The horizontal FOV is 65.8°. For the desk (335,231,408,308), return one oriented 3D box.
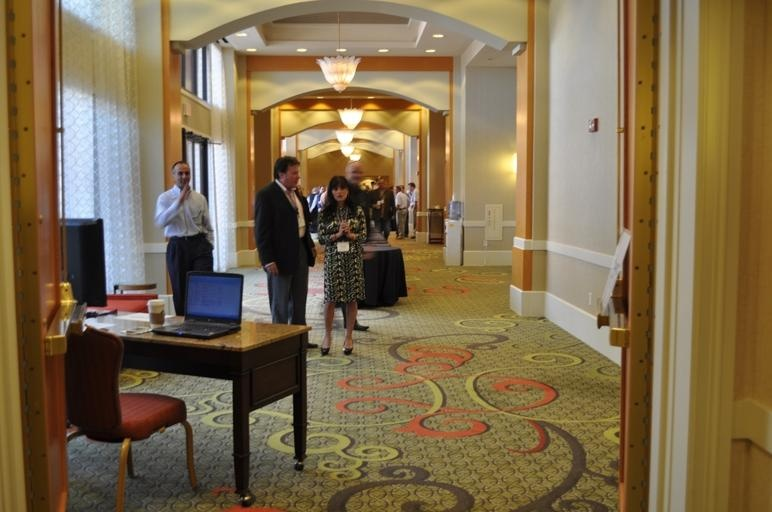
[{"bbox_3d":[-0.099,0.268,9.154,0.865,0.812,0.904,-1,7,-1],"label":"desk"}]

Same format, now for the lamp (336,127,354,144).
[{"bbox_3d":[-1.588,-4.600,22.944,0.754,0.558,0.746,-1,0,-1],"label":"lamp"}]

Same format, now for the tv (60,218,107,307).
[{"bbox_3d":[-2.304,0.062,4.589,0.259,0.664,0.185,-5,8,-30],"label":"tv"}]

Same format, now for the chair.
[{"bbox_3d":[-1.522,0.908,3.534,0.424,1.087,0.592,6,9,40],"label":"chair"}]

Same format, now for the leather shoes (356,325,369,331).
[{"bbox_3d":[-0.296,0.897,7.460,0.188,0.081,0.064,-2,5,2],"label":"leather shoes"}]

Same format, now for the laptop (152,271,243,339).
[{"bbox_3d":[-1.159,0.309,3.773,0.503,0.413,0.408,1,-1,23],"label":"laptop"}]

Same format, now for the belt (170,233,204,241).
[{"bbox_3d":[-2.196,-0.221,6.652,0.373,0.072,0.112,-1,8,-6],"label":"belt"}]

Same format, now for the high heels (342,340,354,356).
[{"bbox_3d":[-0.395,0.969,6.350,0.067,0.077,0.195,4,9,-1],"label":"high heels"}]

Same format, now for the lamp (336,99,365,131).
[{"bbox_3d":[-0.963,-3.912,16.929,0.947,1.080,0.949,-1,0,1],"label":"lamp"}]

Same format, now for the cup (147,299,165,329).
[{"bbox_3d":[-1.581,0.394,4.177,0.159,0.220,0.172,-1,8,0],"label":"cup"}]

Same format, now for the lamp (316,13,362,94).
[{"bbox_3d":[-0.890,-3.983,11.536,0.815,1.594,0.812,-4,-1,26],"label":"lamp"}]
